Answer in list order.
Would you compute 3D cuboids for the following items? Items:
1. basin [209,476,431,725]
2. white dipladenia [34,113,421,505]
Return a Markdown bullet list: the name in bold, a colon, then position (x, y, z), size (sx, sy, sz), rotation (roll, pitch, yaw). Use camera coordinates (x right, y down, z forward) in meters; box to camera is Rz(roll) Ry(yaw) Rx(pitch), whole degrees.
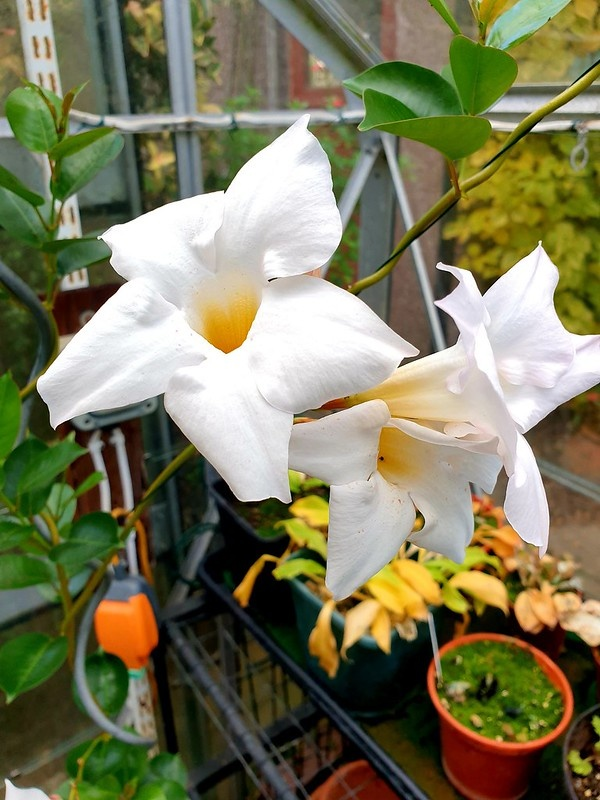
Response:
- **basin**: position (-0.002, 0.304, 1.045), size (0.338, 0.147, 0.229), rotation (39, 34, 22)
- **white dipladenia**: position (-0.043, -0.061, 0.415), size (0.209, 0.197, 0.155), rotation (8, 24, 29)
